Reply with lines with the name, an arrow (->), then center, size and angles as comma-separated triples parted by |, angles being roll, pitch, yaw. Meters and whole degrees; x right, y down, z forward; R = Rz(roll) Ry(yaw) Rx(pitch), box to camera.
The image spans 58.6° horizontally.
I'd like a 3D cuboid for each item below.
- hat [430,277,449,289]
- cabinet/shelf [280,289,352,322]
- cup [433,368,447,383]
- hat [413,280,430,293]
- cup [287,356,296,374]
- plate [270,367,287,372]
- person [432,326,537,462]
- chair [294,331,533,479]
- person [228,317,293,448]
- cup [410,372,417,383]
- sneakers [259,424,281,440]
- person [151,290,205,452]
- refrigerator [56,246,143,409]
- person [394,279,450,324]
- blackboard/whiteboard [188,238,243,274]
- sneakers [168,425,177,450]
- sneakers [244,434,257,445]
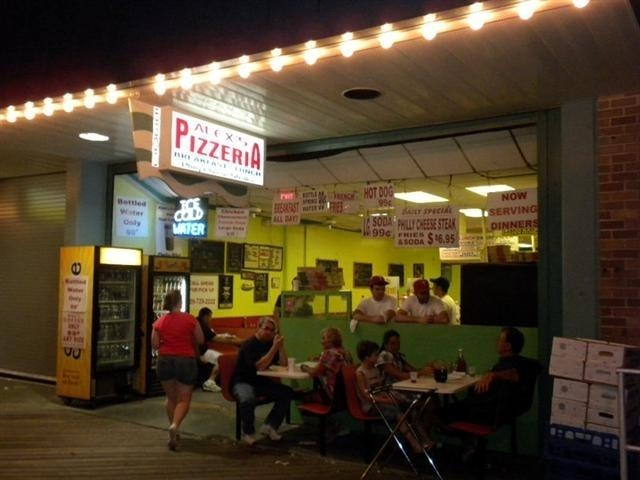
hat -> 1.823, 0.641, 8.712 | 0.289, 0.167, 0.189 | 16, 10, 26
cabinet/shelf -> -0.086, 1.017, 8.857 | 1.262, 0.567, 0.727 | 0, -1, 25
cup -> 1.358, 1.507, 6.384 | 0.144, 0.228, 0.158 | 0, 1, 0
hat -> 1.406, 0.647, 7.824 | 0.211, 0.202, 0.317 | 0, -1, 12
cup -> -0.368, 1.600, 7.244 | 0.124, 0.191, 0.124 | -1, -4, 0
plate -> -0.523, 1.642, 7.233 | 0.218, 0.037, 0.345 | 1, -1, -4
person -> 1.883, 1.559, 6.762 | 1.225, 1.140, 1.521 | 6, -4, 33
chair -> 1.789, 1.738, 7.035 | 1.795, 1.516, 1.607 | -1, -5, 33
person -> -0.750, 1.808, 7.347 | 0.771, 1.558, 0.493 | 1, -2, -10
cup -> 1.057, 1.570, 6.502 | 0.090, 0.099, 0.091 | 0, -4, 0
sneakers -> -0.623, 2.476, 7.368 | 0.258, 0.203, 0.240 | 1, -2, -2
person -> -1.785, 1.610, 7.260 | 0.563, 1.888, 0.599 | 2, -2, -32
refrigerator -> -3.550, 1.338, 9.223 | 1.251, 2.451, 0.763 | 2, -2, -24
person -> 1.387, 1.070, 7.881 | 0.723, 1.027, 0.552 | -1, 6, 3
blackboard/whiteboard -> -2.377, 0.395, 13.163 | 0.081, 0.773, 1.776 | -1, -2, 34
sneakers -> -1.791, 2.408, 6.952 | 0.102, 0.298, 0.126 | 1, -7, -12
sneakers -> -0.866, 2.486, 7.133 | 0.136, 0.122, 0.111 | -1, -1, -32
